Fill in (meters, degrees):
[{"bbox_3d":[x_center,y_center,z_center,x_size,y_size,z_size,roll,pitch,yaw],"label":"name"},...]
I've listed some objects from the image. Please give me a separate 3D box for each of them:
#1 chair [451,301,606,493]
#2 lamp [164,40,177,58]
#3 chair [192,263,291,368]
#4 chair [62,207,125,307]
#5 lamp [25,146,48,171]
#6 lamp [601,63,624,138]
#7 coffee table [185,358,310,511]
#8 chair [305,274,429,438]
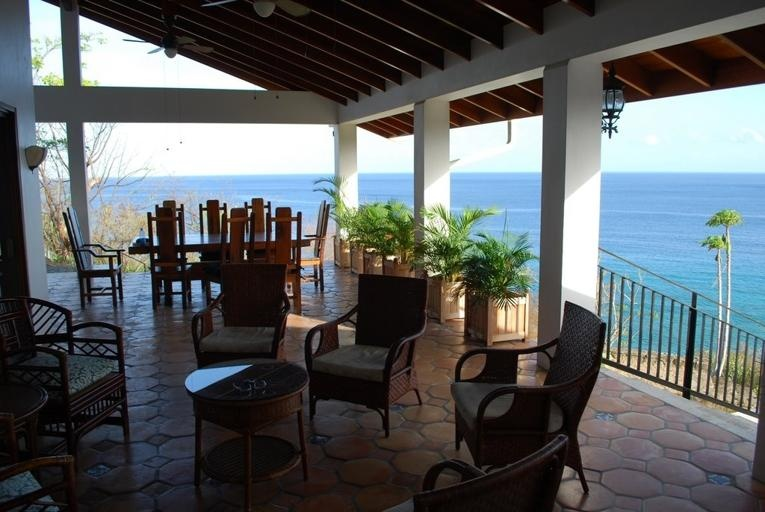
[{"bbox_3d":[1.217,1.160,5.102,1.535,1.904,1.433,1,5,-6],"label":"chair"},{"bbox_3d":[-3.013,-2.959,7.773,0.080,0.190,0.193,-3,47,-17],"label":"lamp"},{"bbox_3d":[-1.452,0.601,5.709,0.921,1.006,0.883,1,6,-7],"label":"chair"},{"bbox_3d":[-4.743,0.027,9.120,1.101,1.490,1.069,5,6,28],"label":"chair"},{"bbox_3d":[-4.284,-1.225,6.751,0.190,0.319,0.303,0,7,-19],"label":"lamp"},{"bbox_3d":[2.674,-1.850,6.350,0.219,0.909,0.820,4,7,21],"label":"lamp"},{"bbox_3d":[-1.167,1.344,4.561,1.018,0.876,1.062,4,7,34],"label":"coffee table"},{"bbox_3d":[-0.164,0.924,5.301,1.204,1.234,1.171,-3,9,-25],"label":"chair"}]
